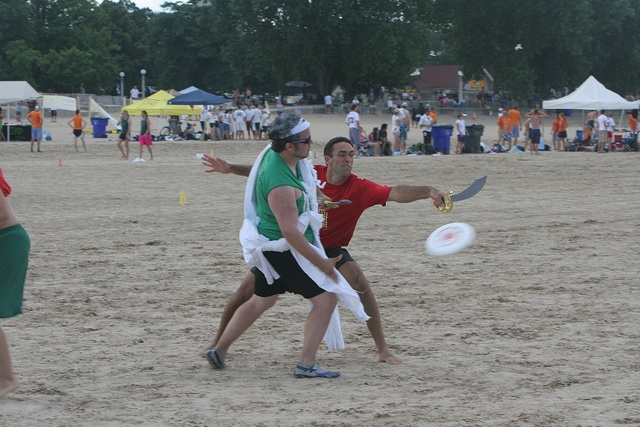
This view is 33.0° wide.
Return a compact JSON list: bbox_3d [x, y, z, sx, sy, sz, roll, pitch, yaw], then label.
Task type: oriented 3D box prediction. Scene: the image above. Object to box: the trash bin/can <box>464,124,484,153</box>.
[{"bbox_3d":[6.233,-3.067,44.100,1.268,1.147,1.180,-1,6,-6],"label":"trash bin/can"}]
